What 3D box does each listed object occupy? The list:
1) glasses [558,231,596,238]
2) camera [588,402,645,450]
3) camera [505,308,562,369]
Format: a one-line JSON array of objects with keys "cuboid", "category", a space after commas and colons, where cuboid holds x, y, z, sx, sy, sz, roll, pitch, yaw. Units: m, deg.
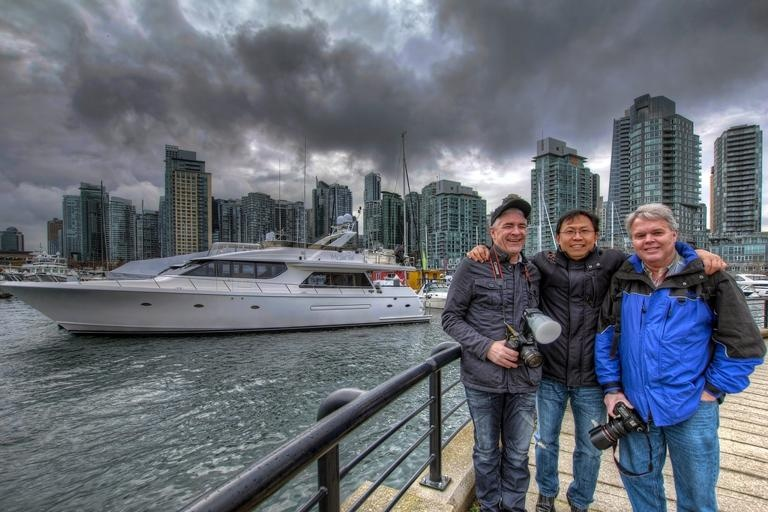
[{"cuboid": [2.029, -0.222, 4.366, 0.370, 0.080, 0.117, 3, 5, 22], "category": "glasses"}, {"cuboid": [2.291, 1.717, 4.096, 0.483, 0.198, 0.459, -33, -19, 6], "category": "camera"}, {"cuboid": [1.476, 0.844, 4.168, 0.395, 0.547, 0.421, 13, 10, -20], "category": "camera"}]
